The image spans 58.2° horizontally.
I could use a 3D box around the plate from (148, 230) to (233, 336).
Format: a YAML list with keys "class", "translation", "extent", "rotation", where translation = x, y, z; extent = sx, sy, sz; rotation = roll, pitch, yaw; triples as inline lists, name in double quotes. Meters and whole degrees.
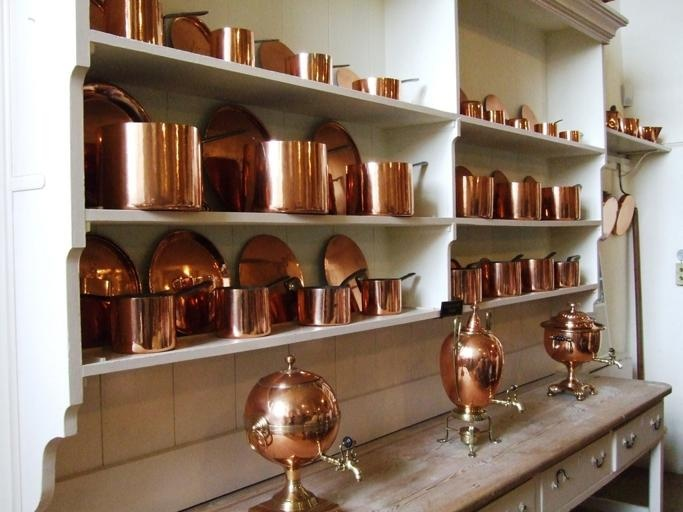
- class: "plate"
  translation: [-0.436, 0.074, 1.791]
  extent: [0.028, 0.273, 0.255]
  rotation: [-4, -7, 33]

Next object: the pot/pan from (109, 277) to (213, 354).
- class: "pot/pan"
  translation: [-0.463, 0.172, 1.568]
  extent: [0.100, 0.146, 0.194]
  rotation: [-4, -8, 33]

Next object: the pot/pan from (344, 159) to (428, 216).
- class: "pot/pan"
  translation: [0.136, -0.219, 2.040]
  extent: [0.211, 0.145, 0.152]
  rotation: [1, -1, -43]

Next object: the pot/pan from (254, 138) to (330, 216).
- class: "pot/pan"
  translation: [-0.139, -0.213, 1.711]
  extent: [0.192, 0.189, 0.195]
  rotation: [-1, -3, 5]

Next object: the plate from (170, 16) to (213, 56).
- class: "plate"
  translation: [-0.441, -0.641, 1.784]
  extent: [0.019, 0.147, 0.136]
  rotation: [-1, -1, 39]

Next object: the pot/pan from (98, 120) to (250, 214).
- class: "pot/pan"
  translation: [-0.470, -0.217, 1.511]
  extent: [0.236, 0.208, 0.101]
  rotation: [-2, 7, -21]

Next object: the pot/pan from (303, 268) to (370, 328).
- class: "pot/pan"
  translation: [-0.022, 0.149, 1.943]
  extent: [0.097, 0.131, 0.183]
  rotation: [-3, -6, 29]

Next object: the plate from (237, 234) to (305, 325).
- class: "plate"
  translation: [-0.227, 0.081, 1.906]
  extent: [0.022, 0.318, 0.248]
  rotation: [-10, -10, 33]

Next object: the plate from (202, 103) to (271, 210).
- class: "plate"
  translation: [-0.336, -0.298, 1.867]
  extent: [0.050, 0.287, 0.204]
  rotation: [-1, -3, 35]

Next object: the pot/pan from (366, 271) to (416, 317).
- class: "pot/pan"
  translation: [0.173, 0.133, 2.109]
  extent: [0.087, 0.119, 0.165]
  rotation: [-2, -4, 33]

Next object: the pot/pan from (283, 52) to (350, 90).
- class: "pot/pan"
  translation: [-0.096, -0.564, 1.858]
  extent: [0.140, 0.094, 0.137]
  rotation: [0, 7, -8]

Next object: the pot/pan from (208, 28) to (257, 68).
- class: "pot/pan"
  translation: [-0.296, -0.574, 1.684]
  extent: [0.108, 0.087, 0.110]
  rotation: [0, 3, -11]

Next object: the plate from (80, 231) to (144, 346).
- class: "plate"
  translation: [-0.613, 0.083, 1.640]
  extent: [0.041, 0.274, 0.206]
  rotation: [-4, -13, 26]

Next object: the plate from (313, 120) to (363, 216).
- class: "plate"
  translation: [-0.009, -0.307, 2.163]
  extent: [0.063, 0.290, 0.287]
  rotation: [-3, 5, 18]

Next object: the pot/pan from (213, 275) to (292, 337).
- class: "pot/pan"
  translation: [-0.254, 0.168, 1.752]
  extent: [0.099, 0.139, 0.188]
  rotation: [-2, -3, 34]

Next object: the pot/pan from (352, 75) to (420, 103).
- class: "pot/pan"
  translation: [0.120, -0.553, 2.017]
  extent: [0.159, 0.081, 0.122]
  rotation: [1, 7, -5]
